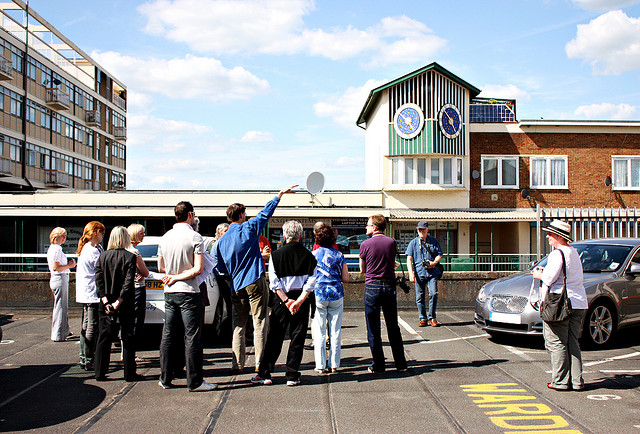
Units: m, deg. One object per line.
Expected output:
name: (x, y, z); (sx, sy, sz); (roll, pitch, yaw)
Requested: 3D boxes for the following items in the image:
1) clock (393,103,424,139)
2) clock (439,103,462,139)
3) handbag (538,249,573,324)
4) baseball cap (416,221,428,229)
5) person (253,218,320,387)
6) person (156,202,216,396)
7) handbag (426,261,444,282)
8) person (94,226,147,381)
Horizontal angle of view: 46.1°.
clock: (4.340, -4.740, 36.713); (1.369, 1.632, 0.216); (15, 6, 0)
clock: (6.246, -4.667, 36.720); (1.273, 1.274, 0.098); (44, -30, -26)
handbag: (4.796, 1.443, 15.269); (0.647, 1.450, 0.443); (-3, 13, -10)
baseball cap: (2.631, 0.170, 19.586); (0.234, 0.180, 0.454); (-1, 13, -4)
person: (-0.683, 1.776, 15.586); (1.003, 3.238, 1.170); (3, 13, 15)
person: (-2.846, 1.621, 15.356); (1.034, 3.678, 1.225); (-3, 13, -9)
handbag: (2.986, 1.408, 19.630); (0.464, 0.469, 0.211); (-9, 15, -32)
person: (-4.272, 1.828, 15.693); (0.966, 3.085, 0.927); (-3, 13, -9)
